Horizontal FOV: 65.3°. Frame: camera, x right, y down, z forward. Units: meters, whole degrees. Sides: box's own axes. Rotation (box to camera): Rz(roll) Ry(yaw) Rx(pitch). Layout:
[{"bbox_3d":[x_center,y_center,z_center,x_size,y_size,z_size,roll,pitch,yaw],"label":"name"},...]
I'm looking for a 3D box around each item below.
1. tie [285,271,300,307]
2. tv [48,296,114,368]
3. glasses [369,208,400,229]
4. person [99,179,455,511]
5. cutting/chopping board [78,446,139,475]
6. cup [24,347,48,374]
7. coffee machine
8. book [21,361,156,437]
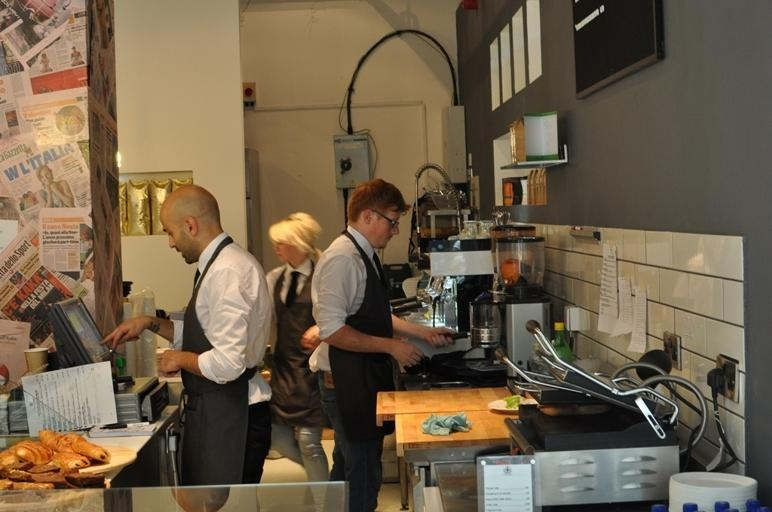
[{"bbox_3d":[-0.593,0.212,3.871,0.052,0.234,0.033,9,-23,11],"label":"tie"},{"bbox_3d":[-1.495,0.375,2.923,0.220,0.347,0.265,-12,14,-2],"label":"tv"},{"bbox_3d":[-0.005,-0.201,3.296,0.111,0.034,0.110,29,3,14],"label":"glasses"},{"bbox_3d":[-0.642,0.344,3.015,1.441,1.504,0.586,-1,-1,-21],"label":"person"},{"bbox_3d":[-1.162,0.844,2.497,0.231,0.017,0.232,0,-1,-3],"label":"cutting/chopping board"},{"bbox_3d":[-1.685,0.507,2.913,0.115,0.122,0.116,-1,-6,0],"label":"cup"},{"bbox_3d":[0.489,0.174,3.591,0.715,0.953,0.974,0,1,1],"label":"coffee machine"},{"bbox_3d":[-1.428,0.691,2.849,0.584,0.389,0.163,-6,5,-18],"label":"book"}]
